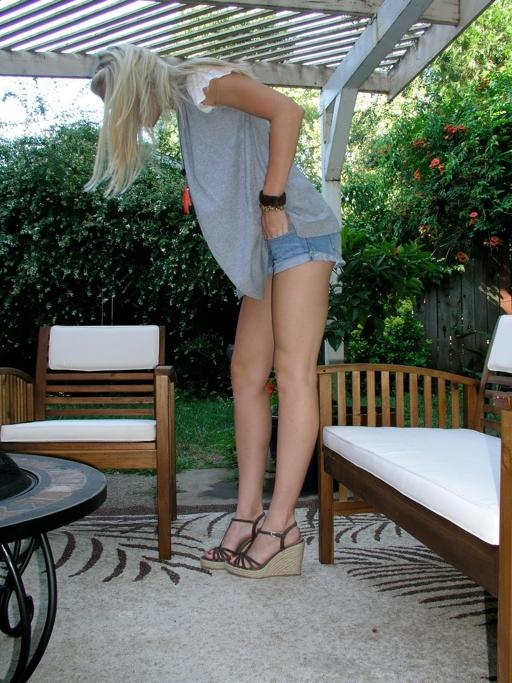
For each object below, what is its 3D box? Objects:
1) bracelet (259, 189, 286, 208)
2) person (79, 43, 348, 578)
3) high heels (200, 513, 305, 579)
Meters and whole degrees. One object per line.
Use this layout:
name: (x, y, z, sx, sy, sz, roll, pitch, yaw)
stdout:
bracelet: (0.041, -0.337, 1.365, 0.069, 0.042, 0.058, 0, -5, -7)
person: (-0.098, -0.050, 1.421, 0.624, 1.299, 0.395, -1, -5, 6)
high heels: (-0.016, 0.510, 1.443, 0.271, 0.158, 0.133, 3, -5, -3)
